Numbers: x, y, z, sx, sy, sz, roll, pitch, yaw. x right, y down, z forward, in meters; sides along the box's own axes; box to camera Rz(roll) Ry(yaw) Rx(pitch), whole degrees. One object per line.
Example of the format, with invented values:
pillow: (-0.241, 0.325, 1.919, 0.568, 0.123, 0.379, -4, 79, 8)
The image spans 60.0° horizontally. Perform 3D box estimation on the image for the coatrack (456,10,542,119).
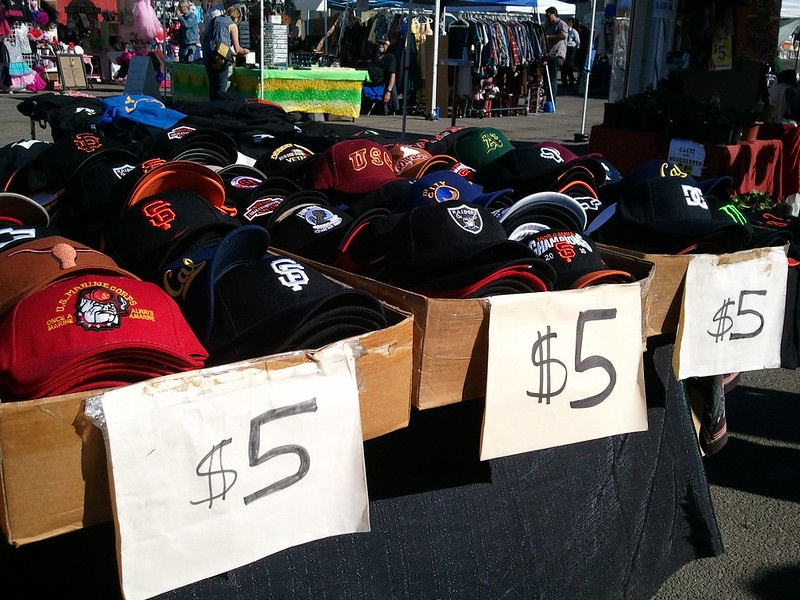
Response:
coatrack: (1.988, -4.637, 13.661, 1.720, 2.009, 0.675, -2, 14, -2)
